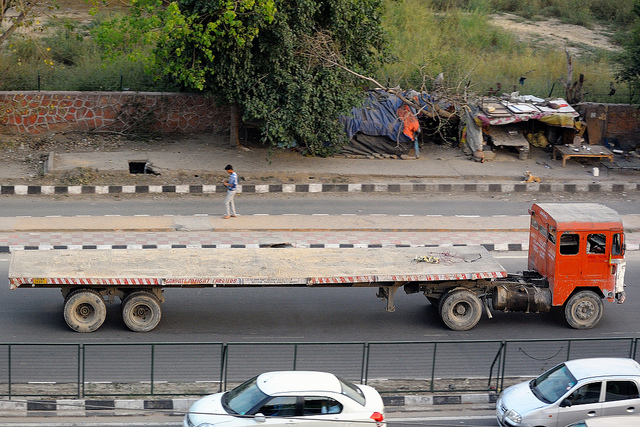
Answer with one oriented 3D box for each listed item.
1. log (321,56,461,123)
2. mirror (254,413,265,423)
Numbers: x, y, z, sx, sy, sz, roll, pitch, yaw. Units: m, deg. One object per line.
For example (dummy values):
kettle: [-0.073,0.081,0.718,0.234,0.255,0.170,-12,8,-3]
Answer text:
log: [3.036,-5.568,64.411,7.572,0.825,1.423,21,17,-16]
mirror: [-1.985,6.697,46.360,0.317,0.317,0.077,-1,-15,-13]
